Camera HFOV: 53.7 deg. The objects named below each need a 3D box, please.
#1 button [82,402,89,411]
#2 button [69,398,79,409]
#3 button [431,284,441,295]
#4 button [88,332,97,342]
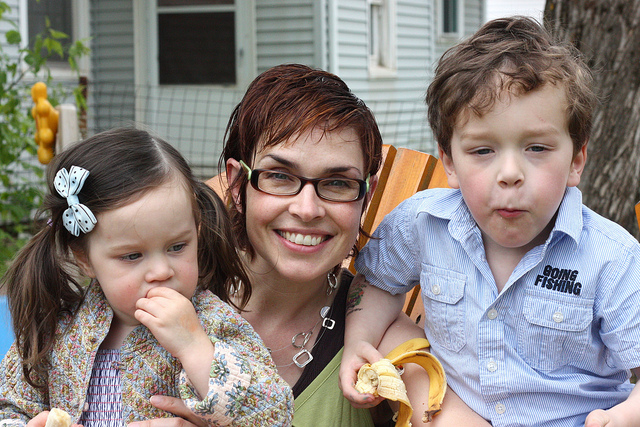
[{"bbox_3d":[-0.988,0.811,2.647,0.023,0.030,0.027,3,-9,-26],"label":"button"},{"bbox_3d":[-1.034,0.795,2.641,0.012,0.037,0.043,24,28,-43],"label":"button"},{"bbox_3d":[0.538,0.349,2.905,0.036,0.039,0.013,16,-4,26],"label":"button"},{"bbox_3d":[-0.969,0.525,2.676,0.035,0.037,0.020,2,10,-23],"label":"button"}]
